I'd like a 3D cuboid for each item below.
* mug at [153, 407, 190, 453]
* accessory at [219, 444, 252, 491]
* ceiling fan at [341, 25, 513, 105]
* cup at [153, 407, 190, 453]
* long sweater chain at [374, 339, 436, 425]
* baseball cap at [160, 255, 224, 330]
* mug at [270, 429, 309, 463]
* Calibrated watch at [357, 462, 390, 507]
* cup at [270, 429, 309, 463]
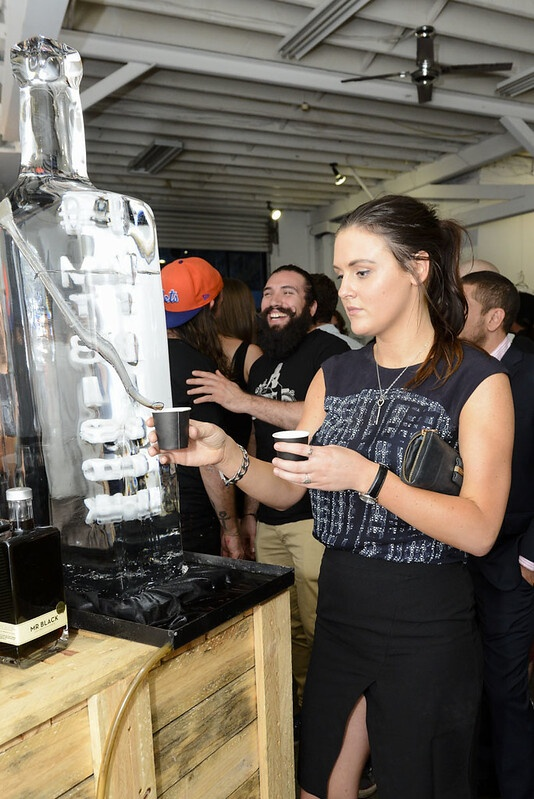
[{"bbox_3d":[-0.156,0.049,1.007,0.067,0.051,0.068,1,9,31],"label":"mug"},{"bbox_3d":[-0.079,0.157,1.431,0.029,0.089,0.086,8,16,44],"label":"accessory"},{"bbox_3d":[1.281,-2.426,4.718,0.754,0.294,0.779,-1,8,4],"label":"ceiling fan"},{"bbox_3d":[-0.156,0.049,1.008,0.067,0.051,0.068,-4,7,0],"label":"cup"},{"bbox_3d":[0.316,-0.037,1.382,0.075,0.018,0.206,10,50,17],"label":"long sweater chain"},{"bbox_3d":[-0.246,-0.387,2.057,0.181,0.106,0.257,15,57,17],"label":"baseball cap"},{"bbox_3d":[0.039,0.087,1.158,0.060,0.041,0.058,0,10,7],"label":"mug"},{"bbox_3d":[0.212,0.172,1.206,0.053,0.078,0.085,23,-10,11],"label":"Calibrated watch"},{"bbox_3d":[0.039,0.086,1.159,0.060,0.041,0.058,-1,10,0],"label":"cup"}]
